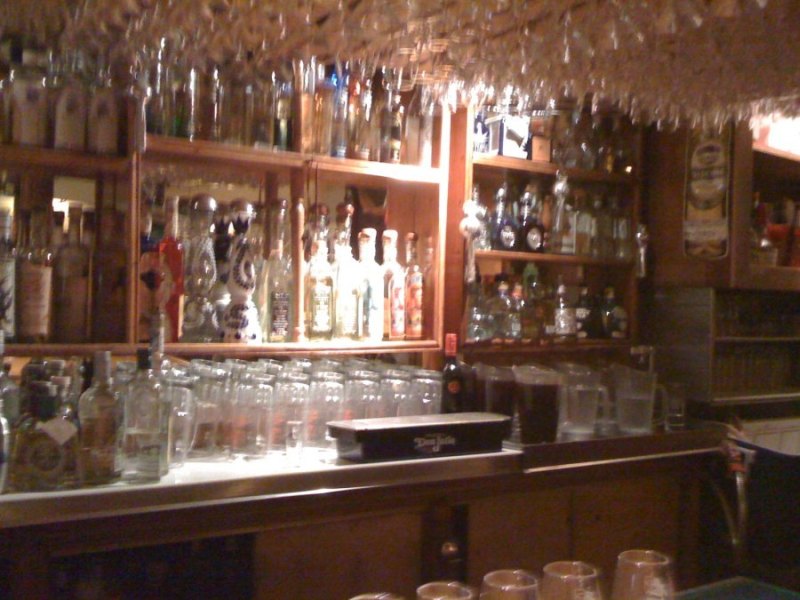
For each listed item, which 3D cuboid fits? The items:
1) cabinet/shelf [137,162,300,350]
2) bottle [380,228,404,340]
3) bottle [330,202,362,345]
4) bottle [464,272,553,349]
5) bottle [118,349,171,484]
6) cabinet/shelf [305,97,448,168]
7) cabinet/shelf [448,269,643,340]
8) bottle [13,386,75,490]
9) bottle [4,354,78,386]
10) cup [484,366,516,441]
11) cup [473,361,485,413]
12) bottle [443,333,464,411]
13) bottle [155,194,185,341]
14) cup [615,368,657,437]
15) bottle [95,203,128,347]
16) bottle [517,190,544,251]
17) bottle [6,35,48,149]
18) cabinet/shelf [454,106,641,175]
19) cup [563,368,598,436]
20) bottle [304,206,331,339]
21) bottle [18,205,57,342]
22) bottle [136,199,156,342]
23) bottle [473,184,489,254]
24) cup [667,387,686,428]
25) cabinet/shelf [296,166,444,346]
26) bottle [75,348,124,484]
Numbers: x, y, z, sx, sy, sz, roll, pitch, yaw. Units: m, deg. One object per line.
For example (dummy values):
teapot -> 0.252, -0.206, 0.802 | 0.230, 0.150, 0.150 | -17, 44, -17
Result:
cabinet/shelf -> -0.578, -0.208, 2.482 | 0.399, 0.595, 0.299 | 0, 27, -13
bottle -> -0.024, -0.048, 2.624 | 0.076, 0.370, 0.069 | 1, -3, 0
bottle -> -0.203, -0.099, 2.559 | 0.119, 0.452, 0.083 | -2, -4, 44
bottle -> 0.458, 0.035, 3.038 | 0.164, 0.279, 0.550 | -1, -3, 39
bottle -> -0.643, 0.294, 1.909 | 0.120, 0.311, 0.058 | 2, -3, -23
cabinet/shelf -> -0.047, -0.513, 2.621 | 0.266, 0.288, 0.277 | 3, 1, 27
cabinet/shelf -> 0.618, 0.031, 3.164 | 0.669, 0.271, 0.167 | 0, 9, 1
bottle -> -0.867, 0.326, 1.838 | 0.149, 0.258, 0.099 | 1, -3, -18
bottle -> -0.947, 0.187, 2.000 | 0.115, 0.123, 0.068 | 4, 3, -1
cup -> 0.301, 0.292, 2.310 | 0.091, 0.194, 0.152 | 8, 10, 33
cup -> 0.243, 0.268, 2.330 | 0.041, 0.134, 0.097 | 0, -2, 7
bottle -> 0.163, 0.223, 2.315 | 0.068, 0.234, 0.104 | 0, -2, 4
bottle -> -0.705, -0.076, 2.328 | 0.074, 0.407, 0.082 | 1, -3, 0
cup -> 0.787, 0.331, 2.543 | 0.123, 0.208, 0.248 | 0, -2, 16
bottle -> -0.877, -0.084, 2.291 | 0.083, 0.375, 0.086 | 6, 18, -2
bottle -> 0.543, -0.329, 3.122 | 0.126, 0.264, 0.050 | 2, -3, -28
bottle -> -1.018, -0.556, 2.074 | 0.106, 0.253, 0.154 | 2, -3, -28
cabinet/shelf -> 0.657, -0.668, 3.098 | 0.914, 0.286, 0.149 | 2, -3, -38
cup -> 0.572, 0.330, 2.421 | 0.112, 0.192, 0.119 | 1, -2, 0
bottle -> -0.260, -0.092, 2.518 | 0.075, 0.431, 0.160 | 0, -3, 21
bottle -> -1.052, -0.077, 2.183 | 0.090, 0.392, 0.124 | 2, -3, -25
bottle -> -0.774, -0.088, 2.321 | 0.052, 0.429, 0.127 | 1, -3, -19
bottle -> 0.323, -0.325, 3.003 | 0.066, 0.273, 0.140 | 0, -3, 11
cup -> 0.945, 0.363, 2.597 | 0.059, 0.132, 0.189 | 0, -2, 19
cabinet/shelf -> -0.112, -0.137, 2.598 | 0.567, 0.596, 0.189 | 1, 2, -32
bottle -> -0.746, 0.328, 1.880 | 0.099, 0.246, 0.060 | 2, -3, -25
